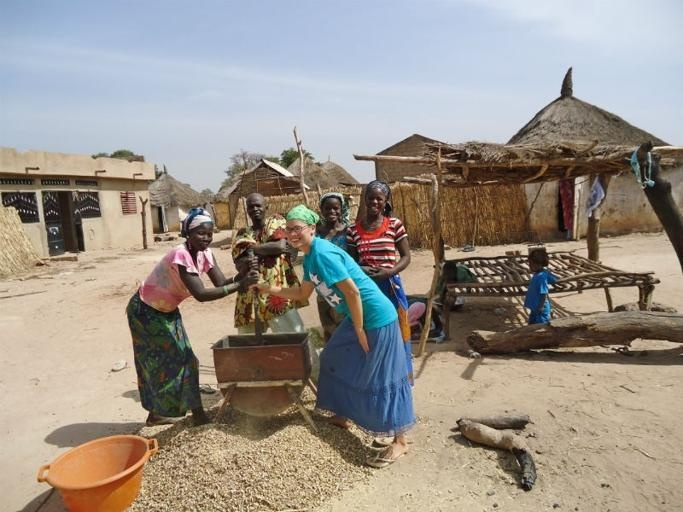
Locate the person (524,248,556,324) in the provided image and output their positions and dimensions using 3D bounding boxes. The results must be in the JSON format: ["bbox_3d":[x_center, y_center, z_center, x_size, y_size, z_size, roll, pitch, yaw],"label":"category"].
[{"bbox_3d":[2.681,0.433,7.016,0.409,1.016,0.759,0,7,21],"label":"person"}]

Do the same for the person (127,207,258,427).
[{"bbox_3d":[-1.486,0.585,4.901,1.026,2.049,0.479,-4,7,-13],"label":"person"}]

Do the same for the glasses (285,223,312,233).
[{"bbox_3d":[-0.354,-0.235,4.485,0.229,0.116,0.120,-2,6,-5],"label":"glasses"}]

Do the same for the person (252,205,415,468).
[{"bbox_3d":[0.098,0.584,4.592,1.027,2.048,0.391,-2,7,6],"label":"person"}]
